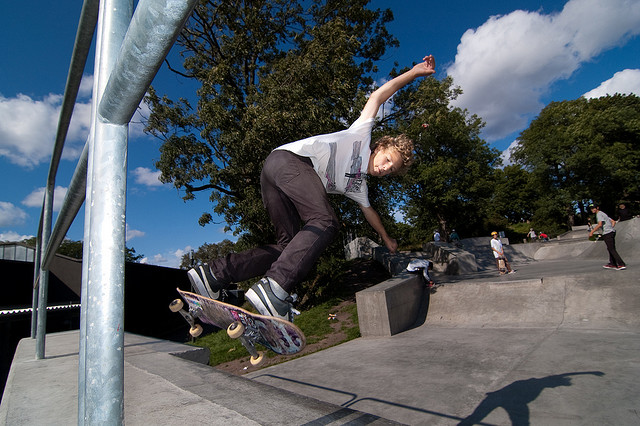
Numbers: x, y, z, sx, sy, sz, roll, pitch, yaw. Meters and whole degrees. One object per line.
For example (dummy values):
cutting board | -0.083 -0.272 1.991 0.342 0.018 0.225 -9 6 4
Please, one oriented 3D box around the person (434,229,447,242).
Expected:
person | 8.752 1.571 26.669 0.255 0.962 0.872 -6 -1 -17

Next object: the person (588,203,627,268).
person | 7.712 0.570 9.871 0.579 1.728 0.775 2 -10 -24

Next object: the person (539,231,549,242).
person | 18.684 1.922 30.887 0.697 0.450 0.373 25 -39 -2

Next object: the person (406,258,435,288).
person | 2.879 1.595 10.267 0.847 0.697 0.653 16 13 38
